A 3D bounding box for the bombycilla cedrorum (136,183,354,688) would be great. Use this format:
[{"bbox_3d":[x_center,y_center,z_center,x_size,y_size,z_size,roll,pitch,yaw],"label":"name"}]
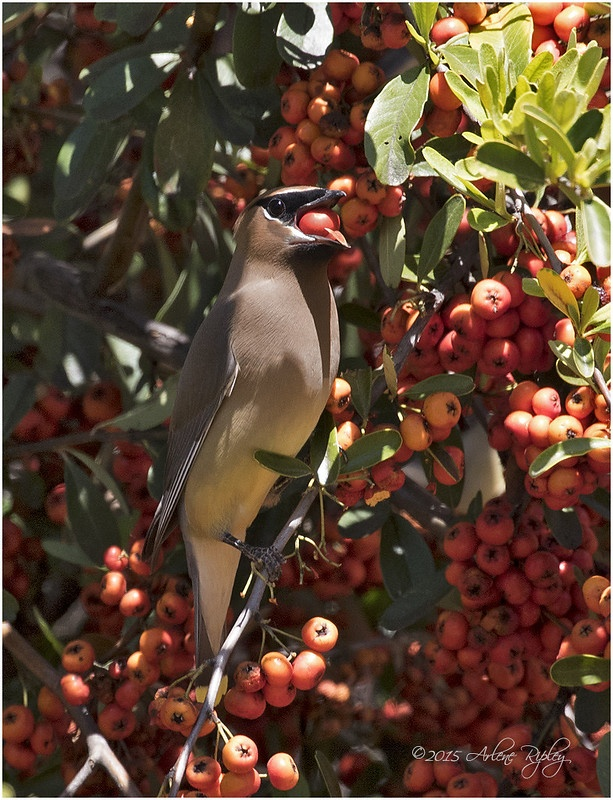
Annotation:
[{"bbox_3d":[-0.073,0.003,1.454,0.487,0.701,0.621,-6,12,-12],"label":"bombycilla cedrorum"}]
